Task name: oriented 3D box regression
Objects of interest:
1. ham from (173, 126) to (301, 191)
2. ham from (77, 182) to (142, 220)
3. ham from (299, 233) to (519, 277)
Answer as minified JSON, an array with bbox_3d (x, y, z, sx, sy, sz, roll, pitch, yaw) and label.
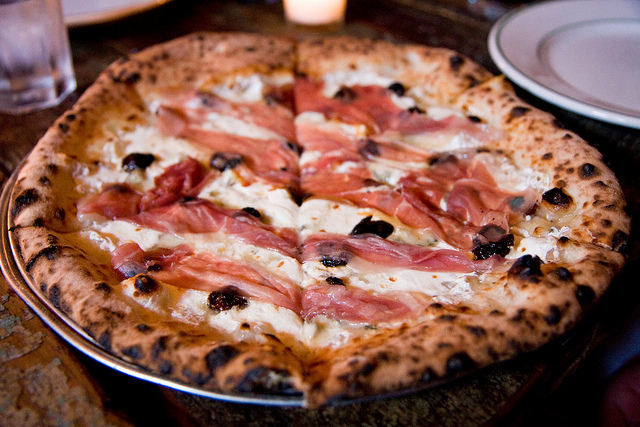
[{"bbox_3d":[-0.313,-0.293,2.952,0.679,0.073,0.294,16,45,4],"label":"ham"},{"bbox_3d":[-0.899,-0.053,2.694,0.192,0.055,0.180,14,41,7],"label":"ham"},{"bbox_3d":[0.360,0.170,2.562,0.917,0.093,0.252,3,27,4],"label":"ham"}]
